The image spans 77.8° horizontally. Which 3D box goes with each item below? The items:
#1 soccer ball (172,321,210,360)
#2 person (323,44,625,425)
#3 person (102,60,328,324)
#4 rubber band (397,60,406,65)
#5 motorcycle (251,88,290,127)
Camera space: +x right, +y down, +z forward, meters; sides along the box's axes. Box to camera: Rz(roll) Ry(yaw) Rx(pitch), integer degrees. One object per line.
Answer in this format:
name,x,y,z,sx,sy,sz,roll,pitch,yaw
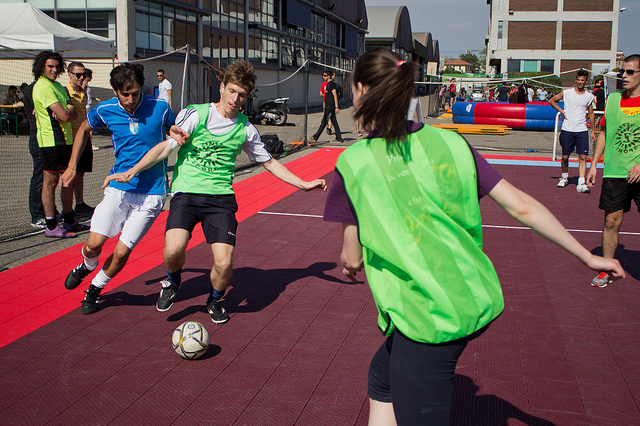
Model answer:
soccer ball,-1.093,1.076,3.552,0.288,0.315,0.299,-2,17,1
person,0.520,0.112,1.767,1.002,1.597,0.499,0,15,-1
person,-1.044,-0.189,3.948,1.377,2.514,0.870,-5,16,-17
rubber band,0.358,-0.666,1.752,0.036,0.010,0.034,-19,32,-33
motorcycle,-3.055,-5.488,20.646,2.711,1.989,1.149,1,12,9
